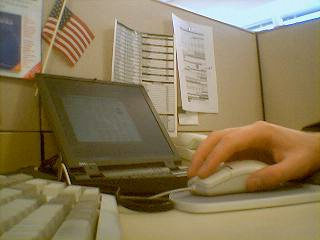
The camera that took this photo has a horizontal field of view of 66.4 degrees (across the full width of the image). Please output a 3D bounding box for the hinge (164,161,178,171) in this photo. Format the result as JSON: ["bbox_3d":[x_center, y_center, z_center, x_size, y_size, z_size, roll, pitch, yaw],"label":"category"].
[{"bbox_3d":[0.029,0.115,0.612,0.029,0.016,0.027,-9,17,-35],"label":"hinge"}]

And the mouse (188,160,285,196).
[{"bbox_3d":[0.134,0.096,0.467,0.145,0.045,0.078,1,-3,-7],"label":"mouse"}]

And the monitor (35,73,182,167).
[{"bbox_3d":[-0.137,0.002,0.668,0.162,0.246,0.345,-8,-5,42],"label":"monitor"}]

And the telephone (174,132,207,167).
[{"bbox_3d":[0.113,0.111,0.963,0.119,0.082,0.121,6,0,-5],"label":"telephone"}]

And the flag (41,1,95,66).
[{"bbox_3d":[-0.342,-0.312,0.887,0.022,0.200,0.186,-7,34,52],"label":"flag"}]
